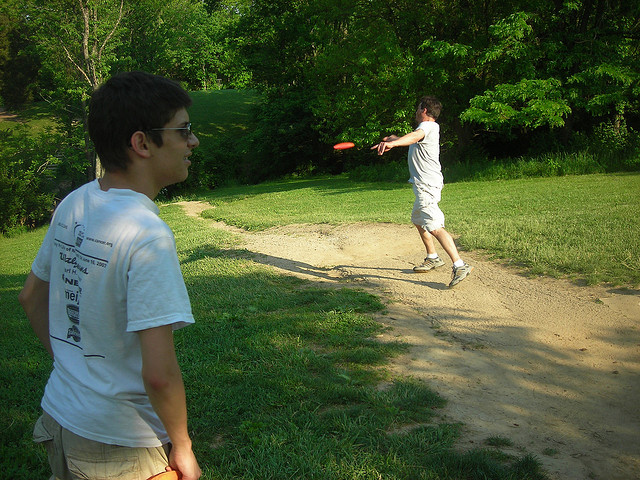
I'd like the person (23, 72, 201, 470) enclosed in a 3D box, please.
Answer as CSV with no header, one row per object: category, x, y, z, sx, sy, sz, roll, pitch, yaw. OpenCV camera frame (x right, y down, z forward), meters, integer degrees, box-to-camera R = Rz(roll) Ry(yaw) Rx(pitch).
person,-1.464,0.228,4.189,1.206,2.750,0.509,-2,6,9
